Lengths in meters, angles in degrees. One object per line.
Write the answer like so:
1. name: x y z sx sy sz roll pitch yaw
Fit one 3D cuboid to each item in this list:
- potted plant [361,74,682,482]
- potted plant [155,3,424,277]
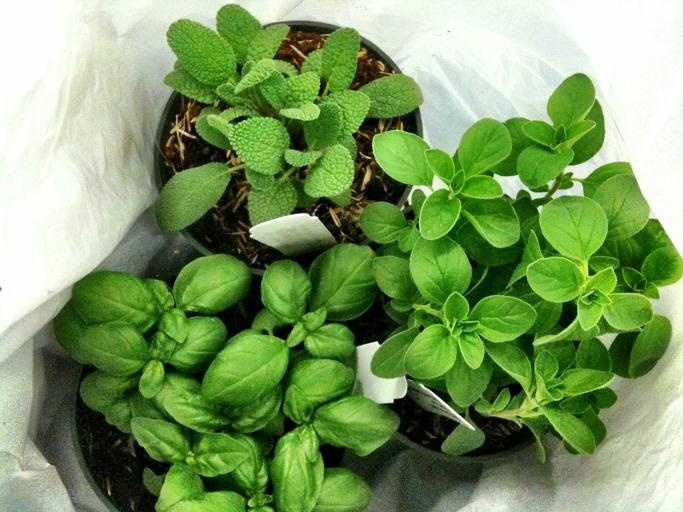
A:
1. potted plant: 0.240 0.002 0.887 0.485 0.455 0.183 10 -3 9
2. potted plant: -0.069 -0.154 1.043 0.391 0.401 0.140 36 -6 -1
